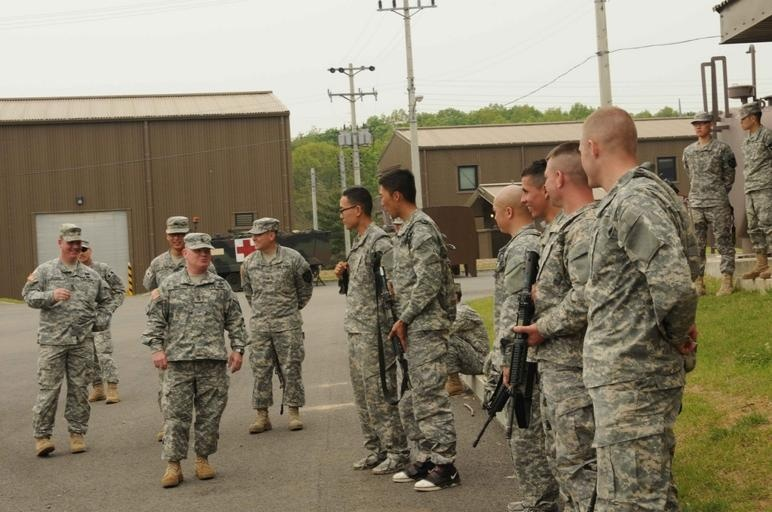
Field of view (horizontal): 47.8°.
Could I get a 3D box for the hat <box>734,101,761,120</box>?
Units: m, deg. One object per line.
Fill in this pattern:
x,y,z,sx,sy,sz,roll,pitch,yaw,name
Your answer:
5.590,-2.209,13.349,0.295,0.223,0.318,-1,6,20,hat

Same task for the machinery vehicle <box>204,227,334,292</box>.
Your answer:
-4.567,-0.007,34.985,4.117,1.865,2.608,0,-2,-17,machinery vehicle

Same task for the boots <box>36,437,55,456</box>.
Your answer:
-4.271,2.375,10.839,0.214,0.221,0.207,-5,6,-19,boots

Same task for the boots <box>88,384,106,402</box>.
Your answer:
-4.654,2.185,13.842,0.373,0.338,0.183,3,-6,-19,boots

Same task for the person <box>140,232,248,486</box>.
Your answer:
-2.232,1.155,10.184,1.179,2.792,0.721,-6,7,-28,person

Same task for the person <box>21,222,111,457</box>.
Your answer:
-4.177,1.036,11.306,0.896,2.807,1.326,-4,6,-7,person

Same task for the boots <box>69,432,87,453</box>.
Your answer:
-3.902,2.356,10.987,0.186,0.217,0.286,-5,6,-19,boots

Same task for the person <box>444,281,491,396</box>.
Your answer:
1.030,1.221,12.727,0.942,1.567,0.913,8,-12,-35,person

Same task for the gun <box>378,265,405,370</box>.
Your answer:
0.057,0.667,9.757,0.196,1.131,0.471,-7,-8,-12,gun

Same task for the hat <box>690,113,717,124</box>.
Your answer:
5.065,-2.190,13.817,0.255,0.127,0.369,-2,0,43,hat

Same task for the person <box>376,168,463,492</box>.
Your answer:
0.364,0.782,9.658,0.823,3.444,0.916,-5,6,-16,person

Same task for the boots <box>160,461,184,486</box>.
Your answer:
-2.438,2.464,9.893,0.280,0.264,0.261,-6,6,-24,boots

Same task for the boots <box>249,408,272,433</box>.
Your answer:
-1.742,2.258,11.799,0.175,0.366,0.408,-8,-11,30,boots

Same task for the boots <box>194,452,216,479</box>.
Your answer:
-2.114,2.427,10.101,0.235,0.259,0.307,-5,6,-14,boots
